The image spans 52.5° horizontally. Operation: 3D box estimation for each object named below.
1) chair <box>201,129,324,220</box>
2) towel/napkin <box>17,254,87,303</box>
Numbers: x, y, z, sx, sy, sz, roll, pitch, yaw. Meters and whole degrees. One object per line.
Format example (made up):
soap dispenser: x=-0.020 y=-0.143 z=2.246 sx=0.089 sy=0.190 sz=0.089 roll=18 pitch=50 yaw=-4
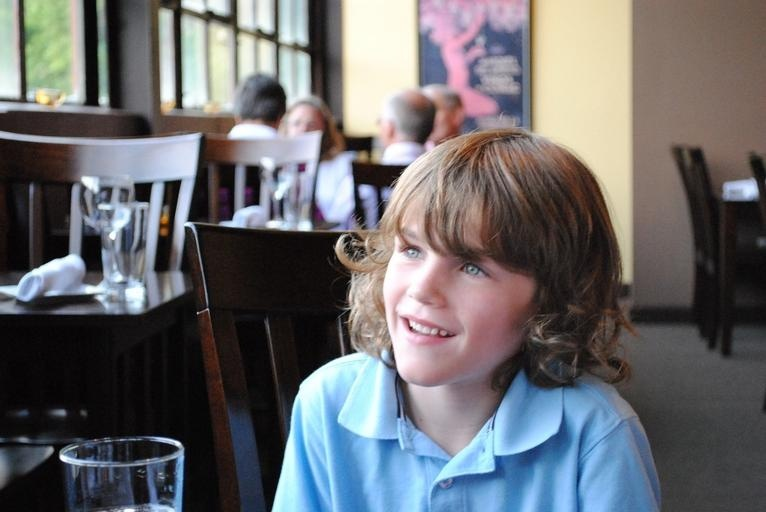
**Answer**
chair: x=-0.451 y=-0.388 z=3.148 sx=0.393 sy=0.529 sz=0.358 roll=1 pitch=13 yaw=-1
towel/napkin: x=-0.685 y=0.034 z=1.606 sx=0.081 sy=0.047 sz=0.115 roll=1 pitch=16 yaw=23
